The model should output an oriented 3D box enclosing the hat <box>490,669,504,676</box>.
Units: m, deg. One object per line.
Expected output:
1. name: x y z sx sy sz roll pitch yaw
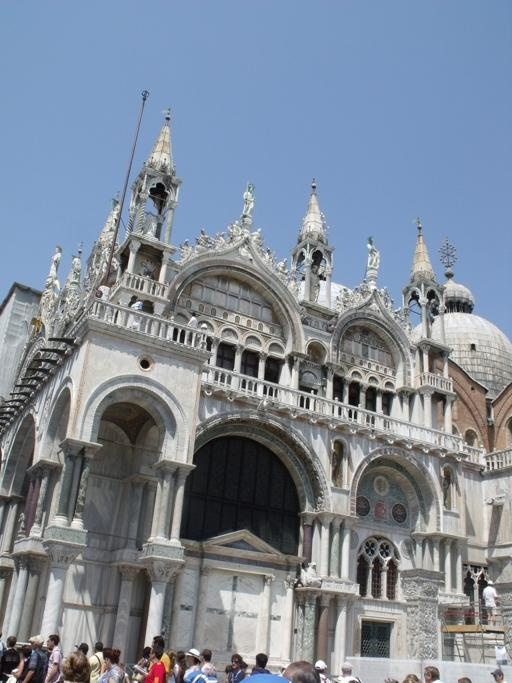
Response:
1. hat: 3.394 4.701 10.014 0.158 0.073 0.209 -3 -6 23
